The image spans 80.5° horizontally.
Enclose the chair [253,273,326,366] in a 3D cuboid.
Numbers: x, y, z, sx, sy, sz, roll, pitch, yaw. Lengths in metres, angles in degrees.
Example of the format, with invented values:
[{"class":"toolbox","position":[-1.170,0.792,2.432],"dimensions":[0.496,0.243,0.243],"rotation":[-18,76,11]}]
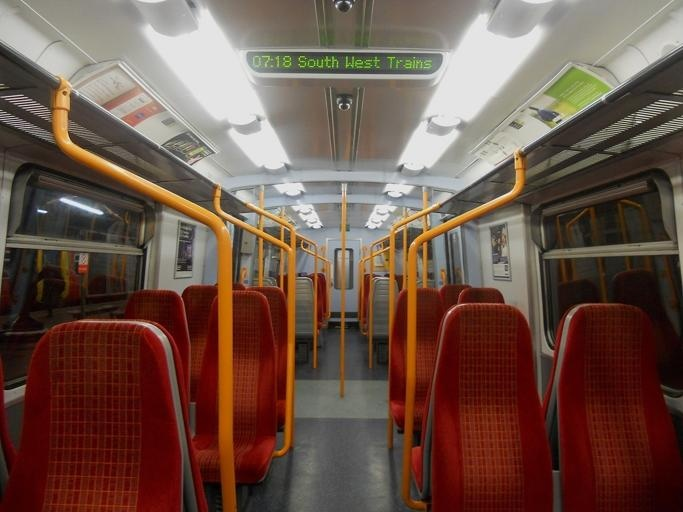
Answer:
[{"class":"chair","position":[-0.945,0.846,6.670],"dimensions":[0.853,1.423,1.181],"rotation":[1,2,6]}]
